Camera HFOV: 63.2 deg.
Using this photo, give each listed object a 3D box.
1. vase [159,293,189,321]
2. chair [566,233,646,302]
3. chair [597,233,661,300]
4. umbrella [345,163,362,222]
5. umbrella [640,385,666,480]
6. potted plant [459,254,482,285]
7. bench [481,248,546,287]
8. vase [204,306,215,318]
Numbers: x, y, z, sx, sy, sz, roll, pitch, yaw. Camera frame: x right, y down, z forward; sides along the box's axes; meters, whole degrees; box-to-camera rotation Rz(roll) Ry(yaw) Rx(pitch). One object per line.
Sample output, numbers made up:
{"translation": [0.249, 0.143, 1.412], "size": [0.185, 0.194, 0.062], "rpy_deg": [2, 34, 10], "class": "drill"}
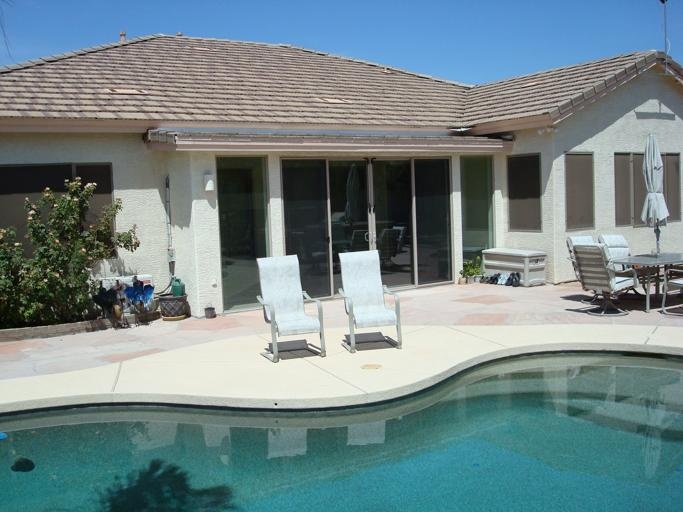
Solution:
{"translation": [-3.578, 1.106, 11.913], "size": [0.581, 0.385, 0.556], "rpy_deg": [-1, 3, 11], "class": "vase"}
{"translation": [5.221, 0.375, 10.930], "size": [1.245, 1.112, 0.815], "rpy_deg": [3, -1, -31], "class": "chair"}
{"translation": [6.867, 0.185, 12.725], "size": [1.146, 1.344, 1.462], "rpy_deg": [-9, 5, -39], "class": "chair"}
{"translation": [0.267, -1.458, 13.109], "size": [0.567, 1.349, 0.235], "rpy_deg": [-15, 20, -41], "class": "umbrella"}
{"translation": [3.609, 2.146, 6.477], "size": [0.166, 1.287, 0.135], "rpy_deg": [-8, 33, 20], "class": "umbrella"}
{"translation": [3.481, 0.370, 14.936], "size": [0.733, 0.882, 0.673], "rpy_deg": [-6, 7, -42], "class": "potted plant"}
{"translation": [4.569, 0.284, 14.727], "size": [0.803, 0.793, 1.564], "rpy_deg": [-3, 5, -30], "class": "bench"}
{"translation": [-2.763, 1.190, 11.697], "size": [0.251, 0.208, 0.219], "rpy_deg": [-1, 5, -6], "class": "vase"}
